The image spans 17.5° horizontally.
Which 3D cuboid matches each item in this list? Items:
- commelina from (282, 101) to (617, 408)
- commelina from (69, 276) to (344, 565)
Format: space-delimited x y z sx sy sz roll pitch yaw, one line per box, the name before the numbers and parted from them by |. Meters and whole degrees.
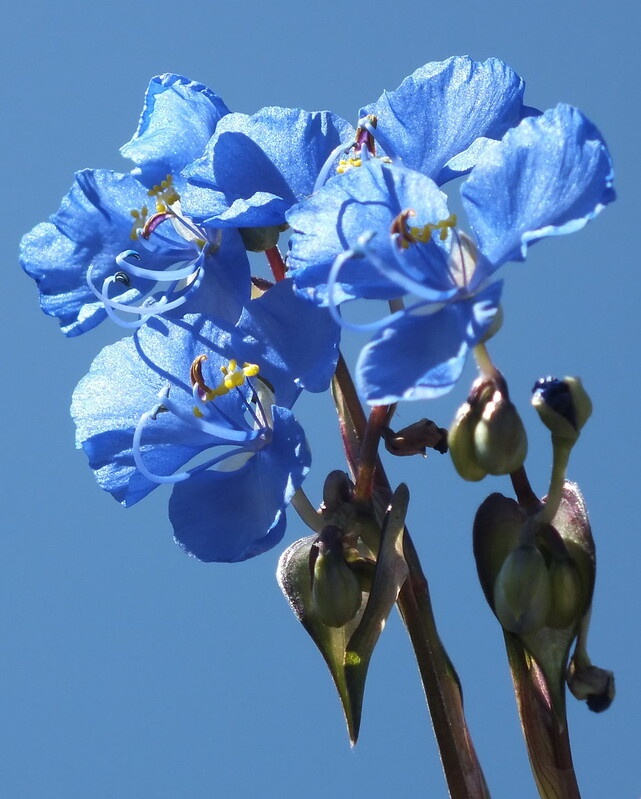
commelina | 0.074 -0.095 1.130 0.167 0.081 0.179 -7 -13 25
commelina | -0.050 0.026 1.238 0.161 0.144 0.074 -35 -26 26
